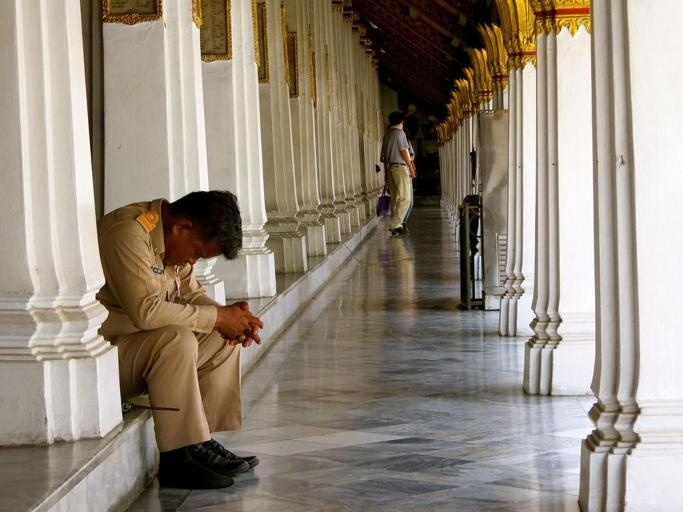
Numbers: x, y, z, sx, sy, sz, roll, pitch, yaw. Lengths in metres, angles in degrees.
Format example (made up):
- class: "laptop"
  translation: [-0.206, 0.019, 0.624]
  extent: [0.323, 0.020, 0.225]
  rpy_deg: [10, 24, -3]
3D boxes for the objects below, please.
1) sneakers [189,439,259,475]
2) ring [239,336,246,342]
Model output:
- class: "sneakers"
  translation: [-0.639, 1.072, 4.286]
  extent: [0.391, 0.189, 0.138]
  rpy_deg: [6, 15, 1]
- class: "ring"
  translation: [-0.544, 0.448, 4.272]
  extent: [0.029, 0.031, 0.010]
  rpy_deg: [7, 7, -6]
